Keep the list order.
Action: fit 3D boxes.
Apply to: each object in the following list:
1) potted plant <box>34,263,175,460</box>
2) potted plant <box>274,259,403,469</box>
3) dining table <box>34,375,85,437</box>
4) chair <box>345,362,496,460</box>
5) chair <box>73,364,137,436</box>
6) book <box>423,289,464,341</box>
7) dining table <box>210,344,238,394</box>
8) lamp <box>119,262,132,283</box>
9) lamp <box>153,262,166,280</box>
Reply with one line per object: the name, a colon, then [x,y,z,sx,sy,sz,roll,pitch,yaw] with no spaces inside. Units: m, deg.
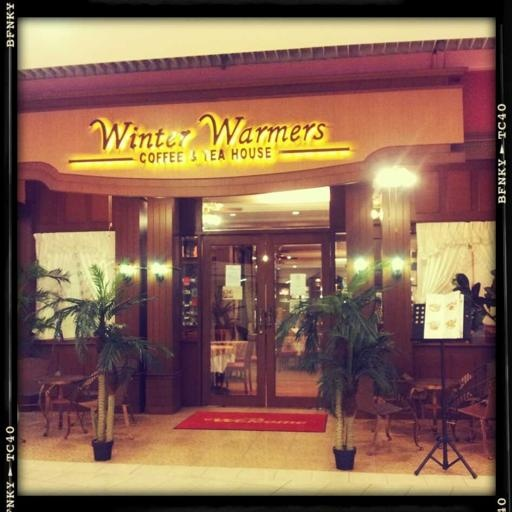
potted plant: [-1.667,1.042,6.288,1.101,1.871,2.193,0,-2,-17]
potted plant: [0.790,1.081,5.537,0.954,1.958,1.194,-1,-8,-6]
dining table: [-2.369,1.668,6.831,0.661,0.899,0.770,2,-5,-16]
chair: [1.776,1.778,5.982,1.190,0.842,1.137,1,-7,-3]
chair: [-1.655,1.615,6.341,0.691,1.025,0.704,-1,-13,3]
book: [1.614,0.518,4.942,0.339,0.415,0.169,-2,-2,22]
dining table: [-0.350,1.475,7.738,0.426,0.628,0.486,0,-8,0]
lamp: [-1.594,0.210,6.967,0.132,0.236,0.057,-3,-11,7]
lamp: [-1.258,0.203,7.313,0.137,0.233,0.060,-2,5,0]
